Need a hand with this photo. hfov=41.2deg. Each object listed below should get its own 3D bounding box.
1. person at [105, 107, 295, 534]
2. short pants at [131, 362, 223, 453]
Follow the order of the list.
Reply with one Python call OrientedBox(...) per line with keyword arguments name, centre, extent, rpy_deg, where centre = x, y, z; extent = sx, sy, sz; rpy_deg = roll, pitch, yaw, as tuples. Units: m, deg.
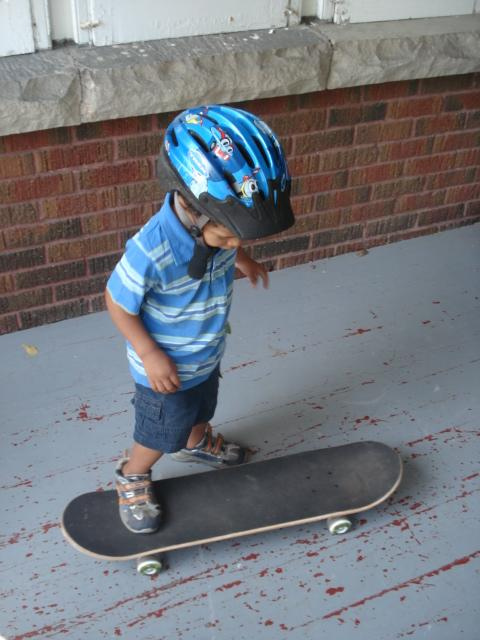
OrientedBox(name="person", centre=(-0.131, 0.055, 1.785), extent=(0.519, 1.230, 0.357), rpy_deg=(-6, 27, -11))
OrientedBox(name="short pants", centre=(-0.173, 0.273, 1.949), extent=(0.312, 0.239, 0.158), rpy_deg=(-13, 28, -27))
